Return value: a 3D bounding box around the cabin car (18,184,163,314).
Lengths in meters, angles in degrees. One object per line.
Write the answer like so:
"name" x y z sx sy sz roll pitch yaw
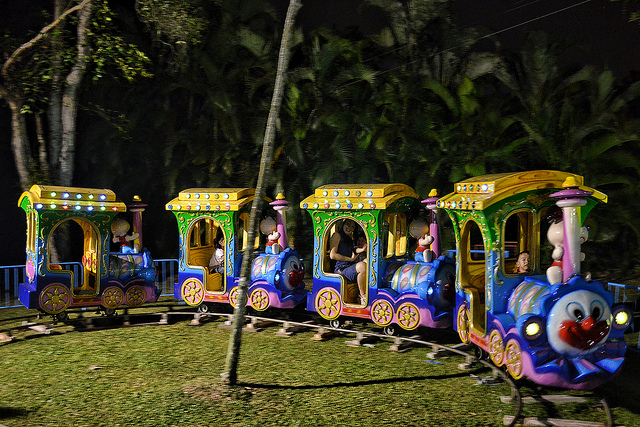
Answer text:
"cabin car" -5.168 0.817 15.483 3.223 2.653 1.628 0 3 -39

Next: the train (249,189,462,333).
"train" 0.697 1.061 14.218 3.420 1.721 1.319 2 5 29
